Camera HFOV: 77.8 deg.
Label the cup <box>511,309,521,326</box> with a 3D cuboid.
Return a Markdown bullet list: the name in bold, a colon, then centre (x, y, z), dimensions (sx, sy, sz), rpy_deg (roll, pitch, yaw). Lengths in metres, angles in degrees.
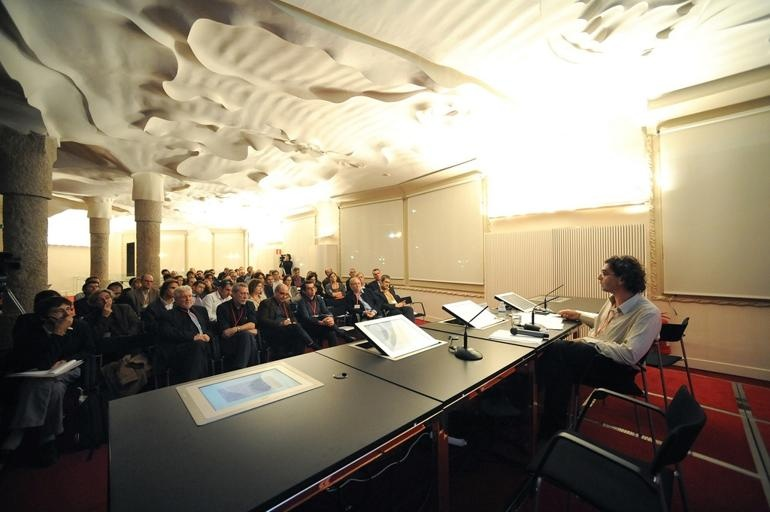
- **cup**: centre (1.762, 0.849, 6.406), dimensions (0.139, 0.162, 0.165), rpy_deg (1, 3, 11)

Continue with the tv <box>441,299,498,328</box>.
- **tv**: centre (1.101, 0.733, 6.041), dimensions (0.371, 0.149, 0.597), rpy_deg (-2, 3, 42)

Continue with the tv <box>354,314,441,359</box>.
- **tv**: centre (0.173, 0.898, 5.372), dimensions (0.882, 0.401, 0.517), rpy_deg (-3, 3, -42)
